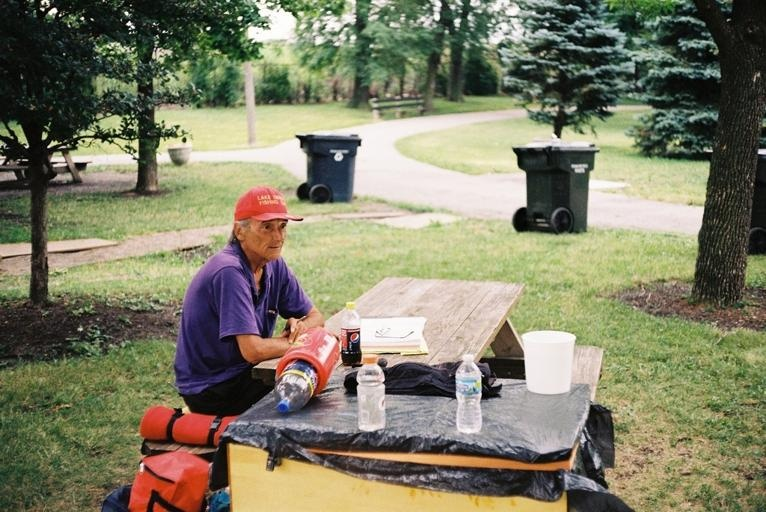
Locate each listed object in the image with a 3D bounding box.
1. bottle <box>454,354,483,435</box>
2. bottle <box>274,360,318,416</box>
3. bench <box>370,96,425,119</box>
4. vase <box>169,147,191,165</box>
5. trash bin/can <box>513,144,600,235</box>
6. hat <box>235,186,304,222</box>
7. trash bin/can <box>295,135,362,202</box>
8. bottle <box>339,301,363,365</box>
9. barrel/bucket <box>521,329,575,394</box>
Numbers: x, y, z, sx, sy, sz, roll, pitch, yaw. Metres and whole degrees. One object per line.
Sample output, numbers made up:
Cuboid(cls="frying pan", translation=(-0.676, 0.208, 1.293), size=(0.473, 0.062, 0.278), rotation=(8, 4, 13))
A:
Cuboid(cls="bottle", translation=(0.796, 1.289, 8.337), size=(0.247, 0.660, 0.331), rotation=(-2, 14, 5))
Cuboid(cls="bottle", translation=(-0.835, 1.283, 8.561), size=(0.297, 0.322, 0.501), rotation=(-11, 22, 30))
Cuboid(cls="bench", translation=(0.647, -6.525, 38.847), size=(2.249, 0.884, 1.439), rotation=(-2, 14, 2))
Cuboid(cls="vase", translation=(-6.239, -3.088, 27.406), size=(0.613, 0.504, 0.645), rotation=(1, 6, 7))
Cuboid(cls="trash bin/can", translation=(3.387, -1.401, 17.400), size=(1.673, 1.756, 1.562), rotation=(-12, 16, -40))
Cuboid(cls="hat", translation=(-1.244, -0.528, 9.385), size=(0.552, 0.296, 0.391), rotation=(-2, 4, 15))
Cuboid(cls="trash bin/can", translation=(-1.298, -2.150, 21.065), size=(1.622, 1.713, 1.270), rotation=(-3, 15, -12))
Cuboid(cls="bottle", translation=(-0.342, 0.791, 9.097), size=(0.213, 0.632, 0.388), rotation=(-3, 14, -2))
Cuboid(cls="barrel/bucket", translation=(1.607, 1.025, 8.762), size=(0.547, 0.492, 0.520), rotation=(-2, 4, 0))
